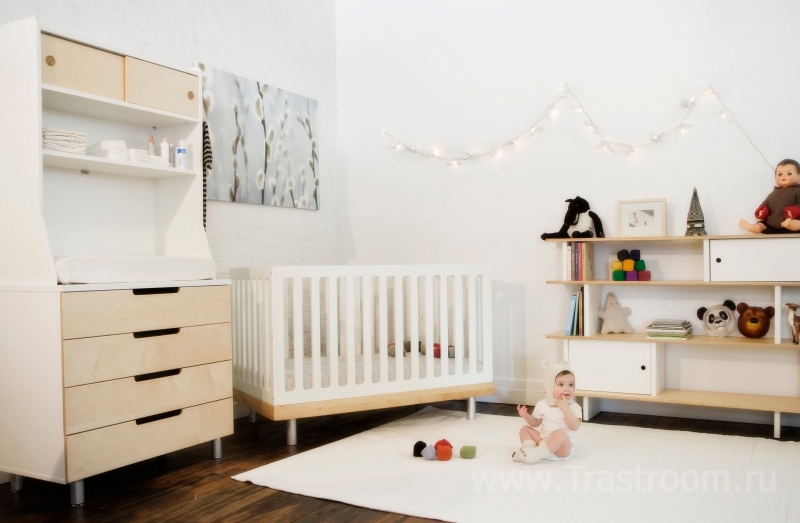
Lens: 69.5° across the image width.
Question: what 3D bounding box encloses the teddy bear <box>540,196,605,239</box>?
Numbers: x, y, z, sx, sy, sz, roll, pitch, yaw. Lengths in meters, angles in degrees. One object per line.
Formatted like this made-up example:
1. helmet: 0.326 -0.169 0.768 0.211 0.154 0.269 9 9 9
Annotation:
1. teddy bear: 1.171 -0.294 3.929 0.280 0.276 0.441 -6 8 -43

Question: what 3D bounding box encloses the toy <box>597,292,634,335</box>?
1. toy: 1.406 0.344 3.825 0.243 0.254 0.071 -2 -13 3

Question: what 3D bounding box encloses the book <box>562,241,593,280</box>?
1. book: 1.156 -0.008 3.765 0.132 0.248 0.274 0 0 28

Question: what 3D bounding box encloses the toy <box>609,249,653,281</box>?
1. toy: 1.495 0.013 3.714 0.234 0.185 0.223 0 2 17

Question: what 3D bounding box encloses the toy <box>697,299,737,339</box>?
1. toy: 1.992 0.357 3.604 0.242 0.202 0.151 -22 -5 35

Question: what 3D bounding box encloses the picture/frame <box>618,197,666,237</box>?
1. picture/frame: 1.557 -0.283 3.705 0.281 0.222 0.023 2 -4 22

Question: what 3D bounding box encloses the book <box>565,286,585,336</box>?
1. book: 1.146 0.324 3.774 0.114 0.299 0.339 3 0 17
